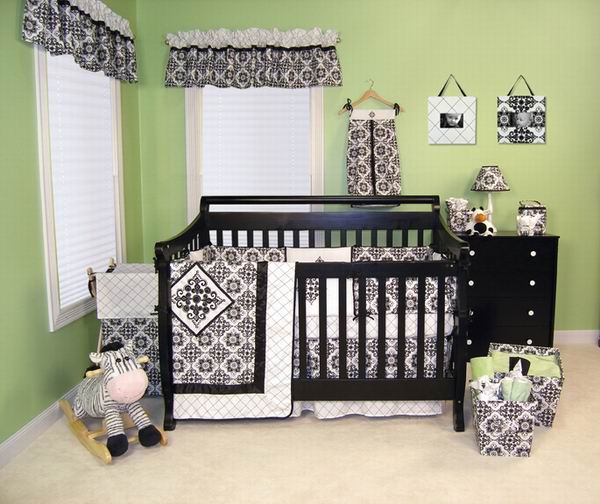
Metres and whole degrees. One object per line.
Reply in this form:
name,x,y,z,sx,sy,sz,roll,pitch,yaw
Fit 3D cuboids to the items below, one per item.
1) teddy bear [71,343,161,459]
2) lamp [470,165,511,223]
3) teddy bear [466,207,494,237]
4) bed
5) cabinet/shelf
teddy bear,-0.971,0.700,3.091,0.286,0.472,0.692,-9,8,-39
lamp,1.252,-0.365,4.007,0.226,0.411,0.234,3,10,44
teddy bear,1.134,-0.193,3.892,0.162,0.192,0.166,0,-3,3
bed,0.099,-0.004,3.488,1.613,1.217,1.164,-1,6,-2
cabinet/shelf,1.290,0.360,3.903,0.632,0.326,0.891,5,54,19
